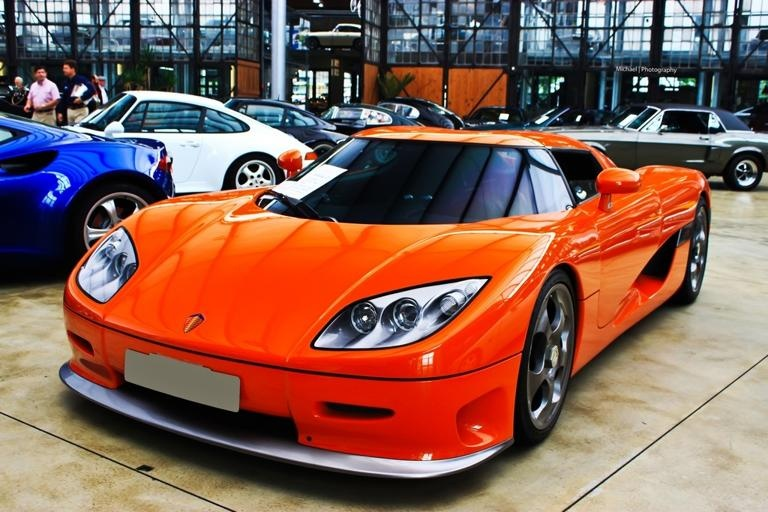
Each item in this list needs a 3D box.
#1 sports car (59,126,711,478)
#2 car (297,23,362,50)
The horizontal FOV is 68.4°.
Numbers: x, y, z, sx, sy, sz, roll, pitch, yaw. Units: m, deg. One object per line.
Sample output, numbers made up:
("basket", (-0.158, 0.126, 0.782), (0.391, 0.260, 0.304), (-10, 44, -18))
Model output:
("sports car", (0.515, 0.280, 3.325), (1.742, 0.921, 3.210), (5, 8, 36))
("car", (-2.811, -12.819, 32.836), (3.279, 1.587, 0.956), (11, 17, 36))
